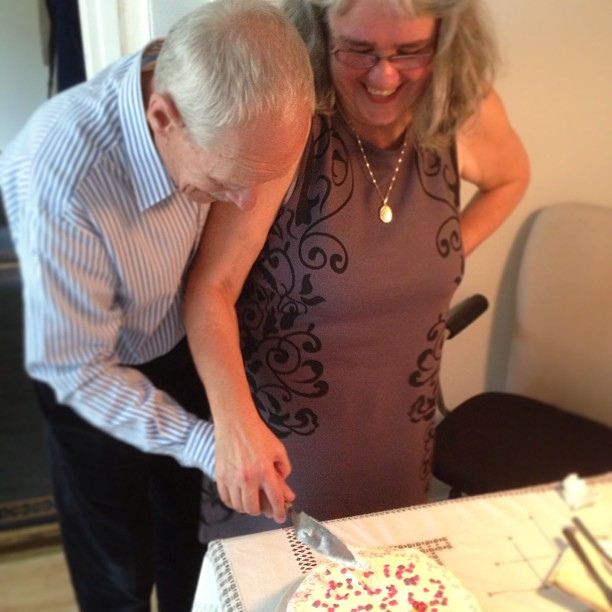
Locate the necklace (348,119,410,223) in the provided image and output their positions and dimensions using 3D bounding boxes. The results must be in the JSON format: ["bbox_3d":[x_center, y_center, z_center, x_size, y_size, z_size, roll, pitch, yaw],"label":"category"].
[{"bbox_3d":[0.135,-0.252,1.185,0.169,0.240,0.009,-4,-1,-42],"label":"necklace"}]

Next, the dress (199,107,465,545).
[{"bbox_3d":[0.133,0.050,1.257,0.518,0.832,0.224,-15,29,-20],"label":"dress"}]
